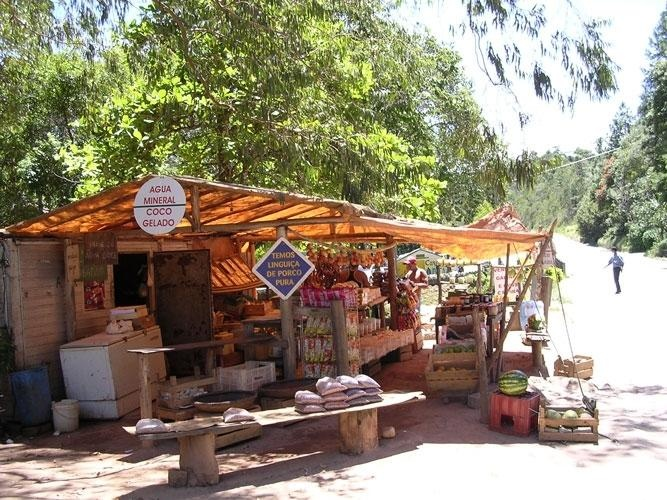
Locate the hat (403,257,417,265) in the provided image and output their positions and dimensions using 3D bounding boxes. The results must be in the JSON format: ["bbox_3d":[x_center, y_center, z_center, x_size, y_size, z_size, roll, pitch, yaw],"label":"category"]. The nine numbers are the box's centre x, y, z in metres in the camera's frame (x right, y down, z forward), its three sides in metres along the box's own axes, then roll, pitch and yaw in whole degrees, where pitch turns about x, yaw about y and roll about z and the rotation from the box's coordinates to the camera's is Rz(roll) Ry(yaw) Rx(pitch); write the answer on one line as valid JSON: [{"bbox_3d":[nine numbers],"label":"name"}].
[{"bbox_3d":[2.885,0.408,19.778,0.536,0.290,0.361,-1,0,-6],"label":"hat"}]

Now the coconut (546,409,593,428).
[{"bbox_3d":[3.327,2.390,7.357,0.335,0.146,0.352,-1,-2,14],"label":"coconut"}]

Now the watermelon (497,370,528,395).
[{"bbox_3d":[2.662,1.971,7.813,0.383,0.328,0.320,-8,9,6],"label":"watermelon"}]

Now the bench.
[{"bbox_3d":[-0.924,2.454,7.016,3.504,0.876,1.678,0,0,-23],"label":"bench"}]

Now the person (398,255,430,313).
[{"bbox_3d":[2.521,1.046,15.767,0.630,1.600,3.068,0,0,8],"label":"person"}]

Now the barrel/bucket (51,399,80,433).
[{"bbox_3d":[-4.472,2.749,8.843,0.455,0.496,0.480,-2,-1,0],"label":"barrel/bucket"}]

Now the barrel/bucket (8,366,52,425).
[{"bbox_3d":[-5.060,2.441,8.617,0.786,1.041,0.595,-3,-9,-40],"label":"barrel/bucket"}]
